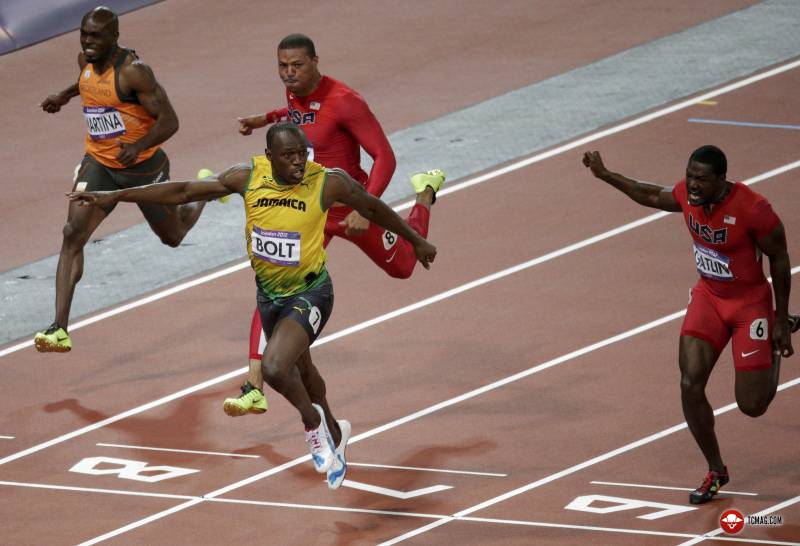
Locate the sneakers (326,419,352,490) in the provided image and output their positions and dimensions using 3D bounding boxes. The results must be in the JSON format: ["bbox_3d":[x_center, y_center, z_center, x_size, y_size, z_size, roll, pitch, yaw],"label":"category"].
[{"bbox_3d":[-0.520,1.360,7.905,0.186,0.489,0.261,4,-5,26],"label":"sneakers"}]

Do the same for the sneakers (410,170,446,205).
[{"bbox_3d":[0.236,-0.780,9.544,0.291,0.344,0.179,2,3,-5],"label":"sneakers"}]

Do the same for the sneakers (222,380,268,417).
[{"bbox_3d":[-1.237,0.985,8.289,0.174,0.215,0.498,-18,-13,27],"label":"sneakers"}]

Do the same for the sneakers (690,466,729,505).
[{"bbox_3d":[2.358,1.618,7.959,0.363,0.139,0.117,-33,32,-14],"label":"sneakers"}]
